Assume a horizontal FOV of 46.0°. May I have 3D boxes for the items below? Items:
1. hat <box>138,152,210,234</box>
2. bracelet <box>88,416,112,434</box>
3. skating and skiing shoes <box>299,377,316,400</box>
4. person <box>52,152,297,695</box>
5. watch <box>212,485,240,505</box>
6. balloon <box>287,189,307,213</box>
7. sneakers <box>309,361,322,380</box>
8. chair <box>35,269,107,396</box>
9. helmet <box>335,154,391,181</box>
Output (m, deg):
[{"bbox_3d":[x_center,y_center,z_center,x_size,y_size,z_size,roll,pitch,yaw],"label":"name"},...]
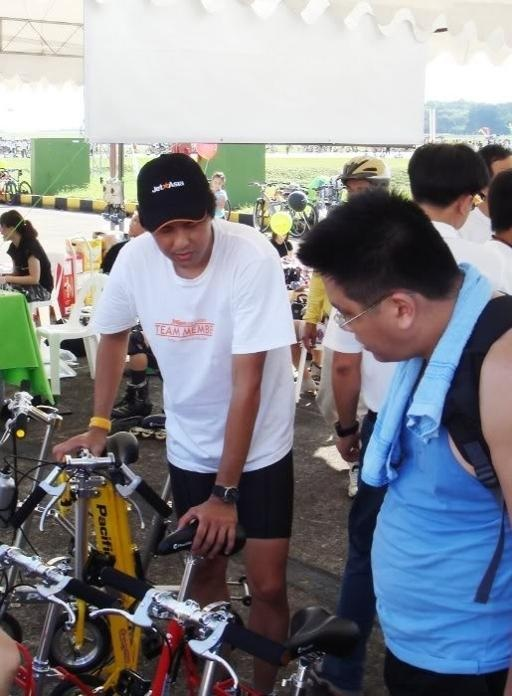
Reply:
[{"bbox_3d":[-0.232,-0.447,1.713,0.202,0.232,0.178,1,11,-12],"label":"hat"},{"bbox_3d":[-0.518,0.252,2.008,0.065,0.042,0.065,5,-13,7],"label":"bracelet"},{"bbox_3d":[0.540,0.403,6.317,0.157,0.203,0.215,1,-25,1],"label":"skating and skiing shoes"},{"bbox_3d":[-0.233,0.300,1.837,0.738,1.752,0.797,4,11,5],"label":"person"},{"bbox_3d":[-0.084,0.390,1.636,0.064,0.038,0.068,-14,-27,36],"label":"watch"},{"bbox_3d":[1.058,-3.613,14.703,0.492,0.510,0.454,0,32,4],"label":"balloon"},{"bbox_3d":[0.660,0.255,6.678,0.099,0.111,0.276,-2,-1,-3],"label":"sneakers"},{"bbox_3d":[-2.089,-0.208,6.622,0.863,1.117,0.793,2,13,-1],"label":"chair"},{"bbox_3d":[0.781,-1.236,4.212,0.354,0.160,0.241,-7,16,-35],"label":"helmet"}]
